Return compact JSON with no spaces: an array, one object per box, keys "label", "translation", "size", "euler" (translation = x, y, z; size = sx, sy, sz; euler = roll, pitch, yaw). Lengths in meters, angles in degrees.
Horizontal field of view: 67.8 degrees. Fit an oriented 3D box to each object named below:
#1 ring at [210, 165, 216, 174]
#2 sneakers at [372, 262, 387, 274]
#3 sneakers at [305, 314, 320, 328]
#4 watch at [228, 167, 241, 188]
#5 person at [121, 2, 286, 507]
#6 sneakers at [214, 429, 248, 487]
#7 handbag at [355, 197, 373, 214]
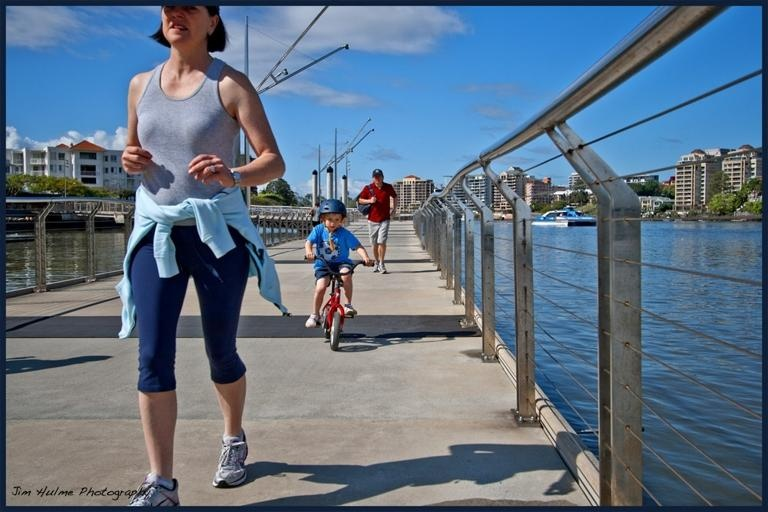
[{"label":"ring","translation":[-0.847,-0.428,2.810],"size":[0.035,0.031,0.008],"euler":[3,5,7]},{"label":"sneakers","translation":[-0.080,0.272,12.926],"size":[0.161,0.186,0.464],"euler":[0,-1,-23]},{"label":"sneakers","translation":[-0.825,0.743,6.608],"size":[0.094,0.117,0.266],"euler":[7,8,-1]},{"label":"watch","translation":[-0.761,-0.401,2.923],"size":[0.049,0.075,0.078],"euler":[-21,2,-40]},{"label":"person","translation":[-0.977,-0.020,3.025],"size":[0.841,2.635,0.513],"euler":[-4,6,-23]},{"label":"sneakers","translation":[-0.861,1.171,3.223],"size":[0.133,0.139,0.318],"euler":[0,4,-1]},{"label":"handbag","translation":[-0.492,-1.148,13.628],"size":[0.419,0.373,0.284],"euler":[1,8,-6]}]
